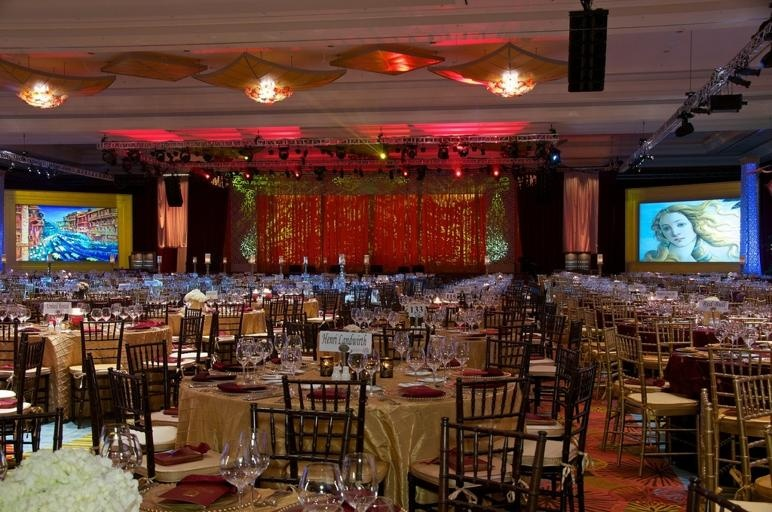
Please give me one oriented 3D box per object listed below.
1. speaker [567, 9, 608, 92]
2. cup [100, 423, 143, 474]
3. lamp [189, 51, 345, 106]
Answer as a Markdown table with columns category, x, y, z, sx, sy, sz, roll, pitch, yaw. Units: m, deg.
| category | x | y | z | sx | sy | sz | roll | pitch | yaw |
| --- | --- | --- | --- | --- | --- | --- | --- | --- | --- |
| speaker | 2.947 | -3.087 | 9.909 | 0.554 | 1.096 | 0.891 | -2 | -5 | 15 |
| cup | -1.400 | 1.024 | 3.588 | 0.193 | 0.233 | 0.183 | 0 | -5 | 0 |
| lamp | -2.341 | -3.602 | 13.660 | 2.002 | 0.582 | 1.942 | 4 | -7 | -43 |
